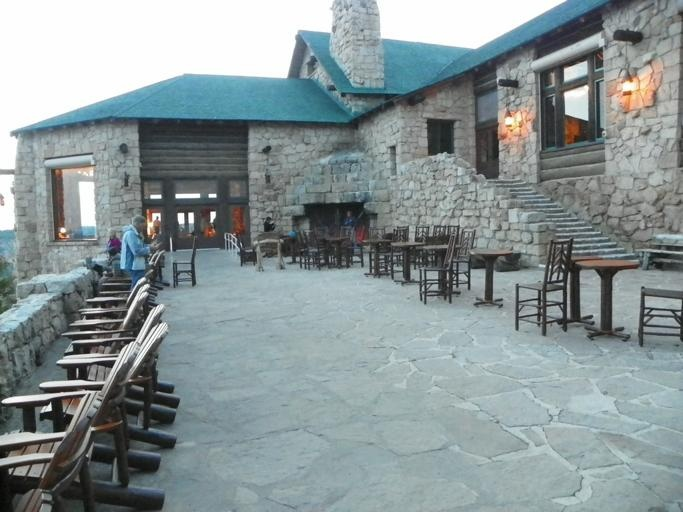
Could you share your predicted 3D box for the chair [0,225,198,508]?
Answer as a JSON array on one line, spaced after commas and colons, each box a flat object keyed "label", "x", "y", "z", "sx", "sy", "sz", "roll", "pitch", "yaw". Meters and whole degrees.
[{"label": "chair", "x": -2.055, "y": 1.273, "z": 4.904, "sx": 1.411, "sy": 1.555, "sz": 1.632, "roll": 0, "pitch": -1, "yaw": -6}]

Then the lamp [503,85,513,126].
[{"label": "lamp", "x": 5.251, "y": -4.640, "z": 17.811, "sx": 0.386, "sy": 1.337, "sz": 0.705, "roll": 0, "pitch": 5, "yaw": 14}]

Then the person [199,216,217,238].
[{"label": "person", "x": -5.485, "y": -1.228, "z": 23.818, "sx": 0.571, "sy": 1.020, "sz": 0.249, "roll": -2, "pitch": 6, "yaw": -12}]

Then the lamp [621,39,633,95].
[{"label": "lamp", "x": 6.778, "y": -4.334, "z": 13.543, "sx": 0.203, "sy": 1.123, "sz": 0.333, "roll": -2, "pitch": 5, "yaw": -5}]
